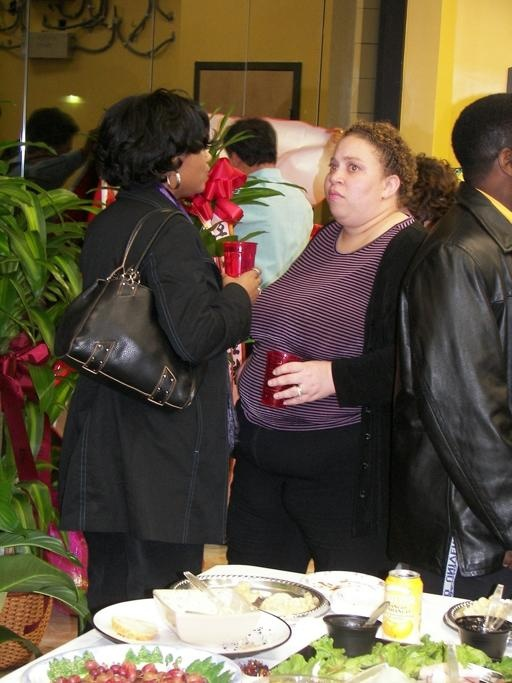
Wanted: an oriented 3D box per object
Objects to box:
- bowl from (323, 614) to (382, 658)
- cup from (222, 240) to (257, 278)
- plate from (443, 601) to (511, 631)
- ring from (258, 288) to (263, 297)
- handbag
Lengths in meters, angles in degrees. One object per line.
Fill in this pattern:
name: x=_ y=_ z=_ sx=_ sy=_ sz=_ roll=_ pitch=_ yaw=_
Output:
bowl: x=0.109 y=0.331 z=0.660 sx=0.050 sy=0.032 sz=0.049 roll=-2 pitch=4 yaw=0
cup: x=-0.041 y=-0.204 z=1.455 sx=0.098 sy=0.089 sz=0.089 roll=3 pitch=2 yaw=-1
plate: x=0.294 y=0.364 z=0.759 sx=0.085 sy=0.017 sz=0.082 roll=-3 pitch=8 yaw=21
ring: x=0.013 y=-0.130 z=1.511 sx=0.018 sy=0.023 sz=0.009 roll=-3 pitch=-10 yaw=7
handbag: x=-0.259 y=-0.069 z=1.164 sx=0.266 sy=0.407 sz=0.138 roll=1 pitch=9 yaw=-18
